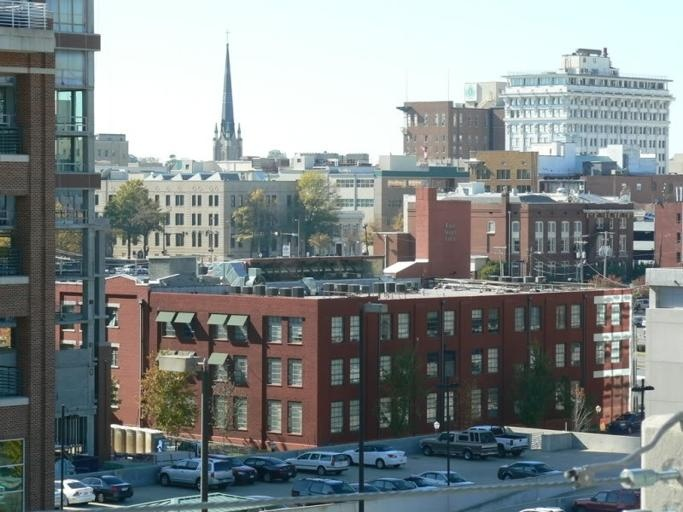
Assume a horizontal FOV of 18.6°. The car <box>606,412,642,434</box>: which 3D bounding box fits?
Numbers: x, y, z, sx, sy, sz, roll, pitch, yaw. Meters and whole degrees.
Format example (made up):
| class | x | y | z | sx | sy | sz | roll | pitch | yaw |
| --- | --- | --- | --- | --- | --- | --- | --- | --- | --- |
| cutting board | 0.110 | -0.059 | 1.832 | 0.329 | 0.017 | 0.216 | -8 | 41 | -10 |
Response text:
| class | x | y | z | sx | sy | sz | roll | pitch | yaw |
| --- | --- | --- | --- | --- | --- | --- | --- | --- | --- |
| car | 25.171 | 15.222 | 187.984 | 2.612 | 1.786 | 4.910 | 0 | -1 | -2 |
